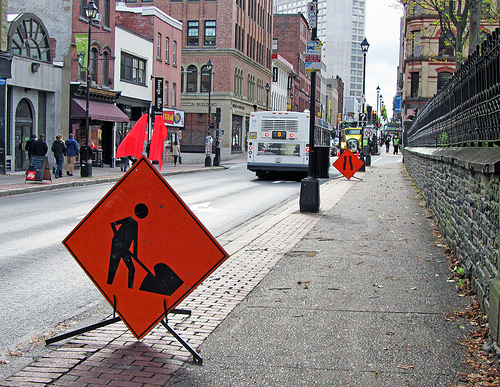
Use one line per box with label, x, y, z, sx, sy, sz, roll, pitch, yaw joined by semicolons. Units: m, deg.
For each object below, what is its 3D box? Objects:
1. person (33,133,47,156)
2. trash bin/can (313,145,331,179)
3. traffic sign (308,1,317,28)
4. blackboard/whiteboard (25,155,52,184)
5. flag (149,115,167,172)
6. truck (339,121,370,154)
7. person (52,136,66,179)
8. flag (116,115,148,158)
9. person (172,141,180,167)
person;-9.230;-2.145;22.601;0.573;0.874;1.616;-4;7;-23
trash bin/can;2.752;-1.233;19.914;0.519;1.163;0.868;0;6;6
traffic sign;1.614;-4.668;13.367;0.233;0.744;0.594;0;6;7
blackboard/whiteboard;-8.777;-0.993;21.314;0.750;1.235;0.685;3;-5;-3
flag;-1.190;-0.673;6.604;0.102;0.705;0.143;-5;-7;40
truck;12.247;-6.160;61.078;2.862;4.960;8.274;0;1;12
person;-9.233;-1.835;24.920;0.606;2.029;0.764;-3;6;-22
flag;-1.398;-0.602;6.354;0.306;0.073;0.757;-30;-23;-40
person;-5.989;-3.301;41.572;0.500;1.819;3.774;-2;7;-8
